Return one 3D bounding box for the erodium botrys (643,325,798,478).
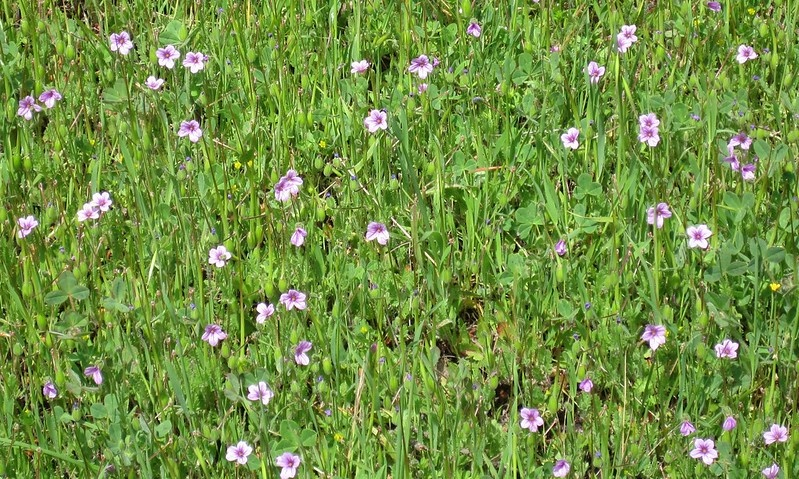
[{"bbox_3d":[1.575,0.887,3.893,0.519,0.211,0.845,-4,75,3],"label":"erodium botrys"}]

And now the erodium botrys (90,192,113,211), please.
[{"bbox_3d":[-1.551,-0.196,4.324,0.085,0.030,0.107,10,64,7],"label":"erodium botrys"}]

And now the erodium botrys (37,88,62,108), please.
[{"bbox_3d":[-1.963,-0.769,4.677,0.109,0.043,0.144,12,88,4],"label":"erodium botrys"}]
